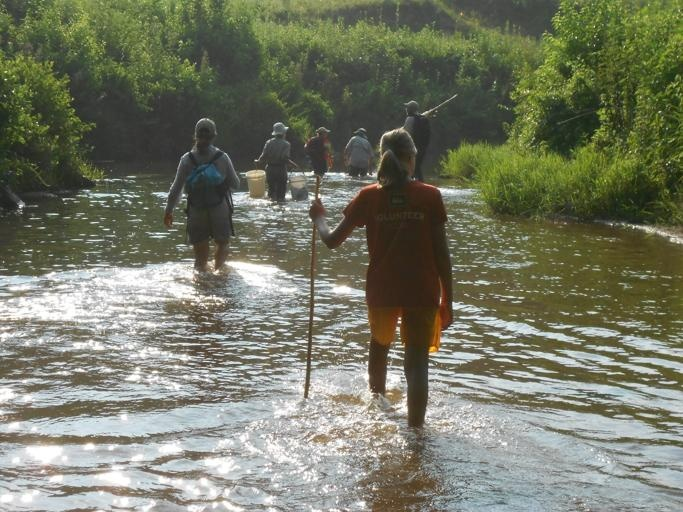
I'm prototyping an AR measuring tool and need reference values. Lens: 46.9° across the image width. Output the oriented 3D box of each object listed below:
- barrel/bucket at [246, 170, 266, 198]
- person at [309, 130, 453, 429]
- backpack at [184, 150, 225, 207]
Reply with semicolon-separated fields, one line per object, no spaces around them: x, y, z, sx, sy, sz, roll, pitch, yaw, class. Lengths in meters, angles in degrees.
-2.249;-1.980;21.611;0.725;0.744;0.726;-1;18;0;barrel/bucket
0.490;0.172;7.044;1.007;2.538;0.591;13;19;32;person
-1.860;-1.108;11.348;0.697;0.918;0.485;-6;-14;9;backpack
